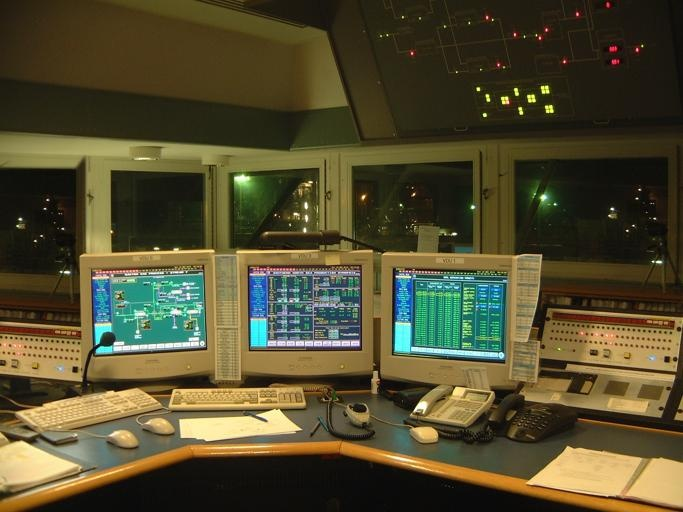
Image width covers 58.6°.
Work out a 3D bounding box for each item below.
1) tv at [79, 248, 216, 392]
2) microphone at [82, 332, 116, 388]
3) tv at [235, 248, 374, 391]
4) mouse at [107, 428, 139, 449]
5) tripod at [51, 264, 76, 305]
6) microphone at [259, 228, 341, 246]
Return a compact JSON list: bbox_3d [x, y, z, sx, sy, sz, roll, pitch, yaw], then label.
[{"bbox_3d":[-0.810,0.263,3.028,0.855,0.851,0.519,0,-2,-14],"label":"tv"},{"bbox_3d":[-1.096,0.462,2.704,0.196,0.260,0.087,0,4,17],"label":"microphone"},{"bbox_3d":[-0.145,0.250,3.059,0.851,0.803,0.519,0,-2,-1],"label":"tv"},{"bbox_3d":[-0.840,0.688,2.334,0.159,0.056,0.086,2,5,42],"label":"mouse"},{"bbox_3d":[-2.150,0.196,4.718,0.148,0.264,0.385,-5,5,-42],"label":"tripod"},{"bbox_3d":[-0.197,-0.087,2.930,0.389,0.072,0.155,-2,4,-5],"label":"microphone"}]
